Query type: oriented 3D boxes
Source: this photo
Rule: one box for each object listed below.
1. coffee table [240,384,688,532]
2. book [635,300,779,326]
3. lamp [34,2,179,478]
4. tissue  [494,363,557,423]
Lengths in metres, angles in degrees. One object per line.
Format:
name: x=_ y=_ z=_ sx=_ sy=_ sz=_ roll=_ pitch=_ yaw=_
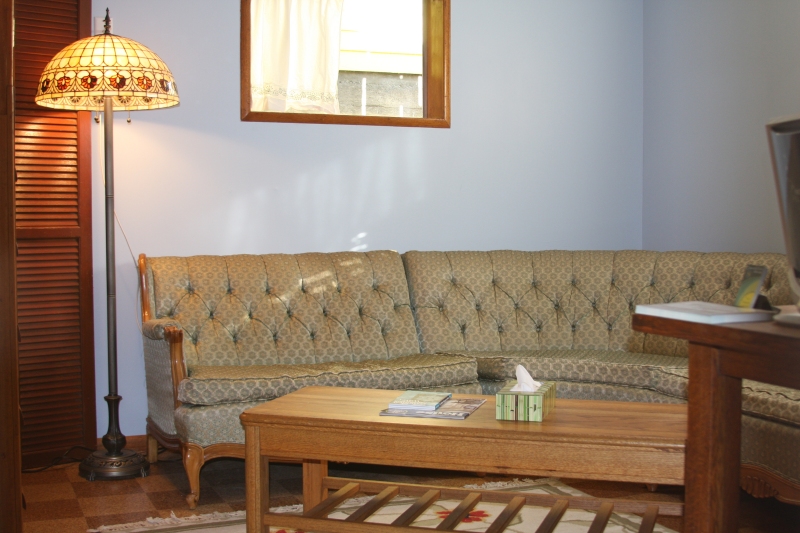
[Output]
coffee table: x=0.242 y=0.777 z=2.519 sx=1.564 sy=0.481 sz=0.678 roll=2 pitch=6 yaw=18
book: x=0.920 y=0.145 z=2.011 sx=0.246 sy=0.041 sz=0.323 roll=-3 pitch=6 yaw=-32
lamp: x=-1.553 y=-0.137 z=3.652 sx=0.658 sy=2.504 sz=0.665 roll=-5 pitch=8 yaw=-34
tissue : x=0.476 y=0.513 z=2.570 sx=0.156 sy=0.153 sz=0.252 roll=-1 pitch=-4 yaw=17
